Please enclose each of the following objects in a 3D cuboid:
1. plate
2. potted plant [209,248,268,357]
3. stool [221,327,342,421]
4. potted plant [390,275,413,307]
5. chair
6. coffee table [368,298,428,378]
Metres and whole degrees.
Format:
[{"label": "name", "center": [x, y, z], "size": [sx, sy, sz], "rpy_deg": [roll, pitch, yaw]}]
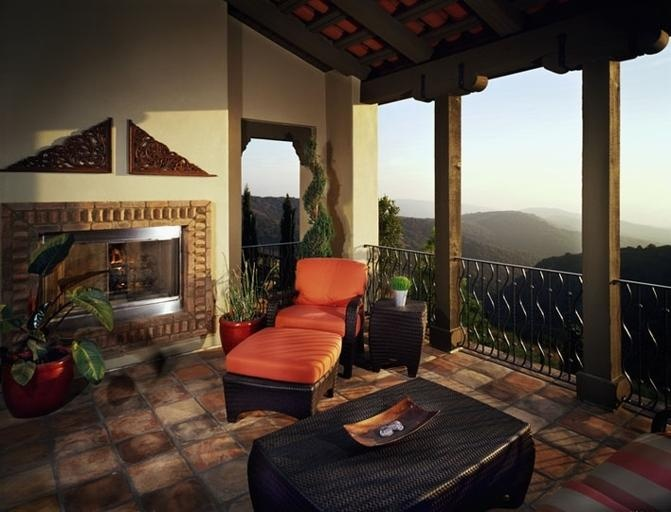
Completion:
[{"label": "plate", "center": [0.363, 1.005, 2.851], "size": [0.421, 0.124, 0.252], "rpy_deg": [-10, 10, -37]}, {"label": "potted plant", "center": [-1.094, 0.709, 5.295], "size": [0.484, 1.112, 0.536], "rpy_deg": [2, 2, 1]}, {"label": "stool", "center": [-0.477, 1.156, 4.170], "size": [1.134, 0.657, 1.235], "rpy_deg": [0, 4, -21]}, {"label": "potted plant", "center": [0.681, 0.385, 4.842], "size": [0.274, 0.385, 0.274], "rpy_deg": [1, 0, -20]}, {"label": "chair", "center": [-0.151, 0.660, 4.895], "size": [0.878, 1.328, 1.141], "rpy_deg": [3, -4, 12]}, {"label": "coffee table", "center": [0.645, 0.904, 4.942], "size": [0.656, 0.754, 0.627], "rpy_deg": [2, 2, 26]}]
